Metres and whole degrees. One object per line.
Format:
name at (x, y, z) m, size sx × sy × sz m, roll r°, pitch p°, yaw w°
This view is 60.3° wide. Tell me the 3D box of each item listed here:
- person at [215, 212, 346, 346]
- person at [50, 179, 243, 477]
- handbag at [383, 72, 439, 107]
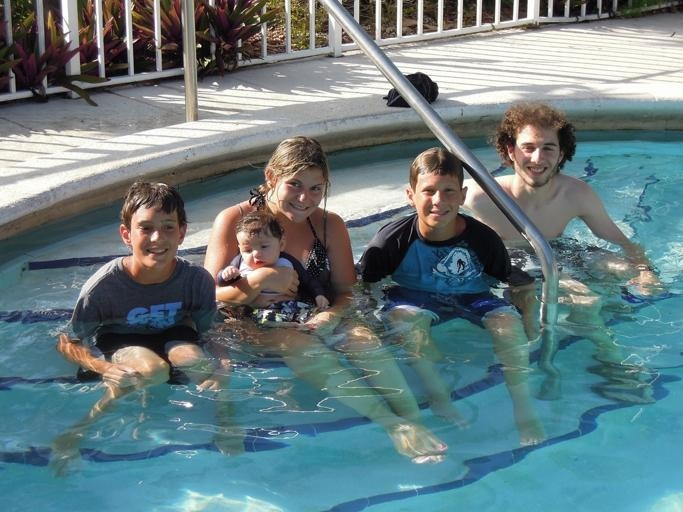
person at (-0.352, 0.128, 3.113) m, size 0.842 × 0.597 × 0.514 m, roll -18°, pitch 10°, yaw -3°
person at (-0.996, 0.201, 2.703) m, size 0.874 × 1.053 × 0.669 m, roll -13°, pitch 17°, yaw -20°
handbag at (0.677, -1.658, 5.896) m, size 0.590 × 0.215 × 0.356 m, roll -17°, pitch 17°, yaw -13°
